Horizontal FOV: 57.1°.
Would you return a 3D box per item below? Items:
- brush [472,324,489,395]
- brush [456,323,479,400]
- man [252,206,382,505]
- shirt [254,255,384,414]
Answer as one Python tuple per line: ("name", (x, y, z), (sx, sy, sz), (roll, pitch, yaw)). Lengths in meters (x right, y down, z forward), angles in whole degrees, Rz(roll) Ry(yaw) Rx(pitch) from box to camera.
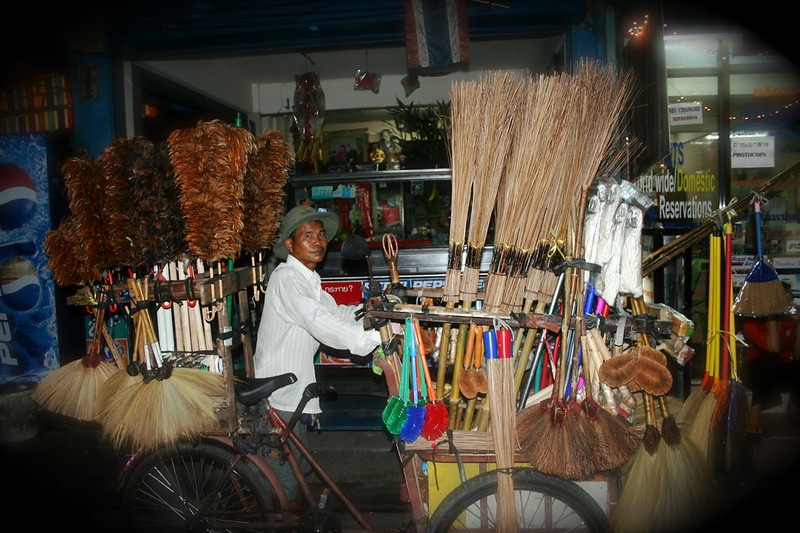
("brush", (0.578, 0.687, 5.329), (0.113, 0.458, 0.061), (0, 5, 5))
("brush", (0.496, 0.696, 5.379), (0.165, 0.518, 0.074), (6, 1, 3))
("man", (-0.601, 0.822, 6.051), (1.238, 2.555, 0.725), (4, 9, 7))
("shirt", (-0.625, 0.549, 6.016), (0.975, 1.055, 0.760), (10, 14, 7))
